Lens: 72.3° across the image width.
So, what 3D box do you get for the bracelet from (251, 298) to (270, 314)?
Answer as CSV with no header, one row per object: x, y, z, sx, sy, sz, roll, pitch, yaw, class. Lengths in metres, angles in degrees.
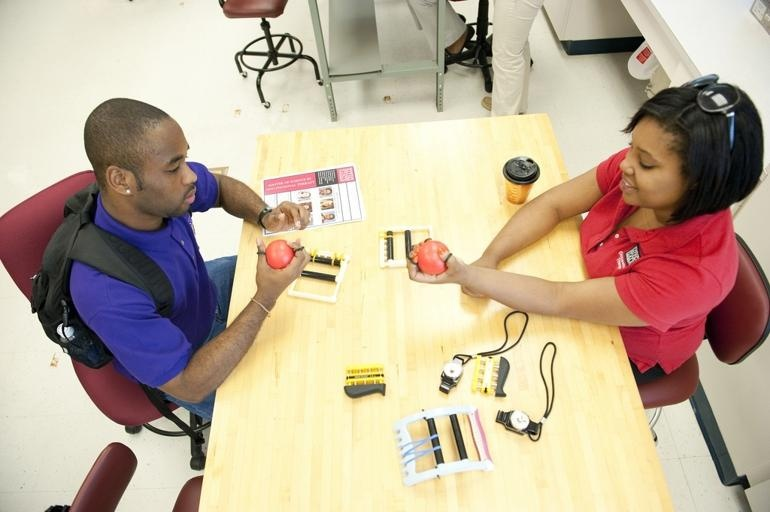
-0.553,0.222,2.354,0.072,0.063,0.020,41,84,-5,bracelet

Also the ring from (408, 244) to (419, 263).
0.123,-0.008,2.350,0.052,0.034,0.078,0,72,9,ring

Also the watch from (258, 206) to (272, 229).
-0.599,-0.195,2.614,0.036,0.081,0.096,4,84,-8,watch

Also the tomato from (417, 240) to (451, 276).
0.205,0.018,2.317,0.134,0.142,0.152,4,84,-17,tomato

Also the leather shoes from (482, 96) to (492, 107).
0.840,-1.267,4.335,0.063,0.045,0.119,2,54,6,leather shoes

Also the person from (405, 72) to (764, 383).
0.935,-0.085,2.452,1.173,1.795,0.866,-5,64,15,person

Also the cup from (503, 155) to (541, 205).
0.660,-0.361,2.577,0.176,0.201,0.178,-4,48,5,cup

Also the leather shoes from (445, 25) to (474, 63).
0.673,-1.897,4.615,0.151,0.190,0.497,7,71,26,leather shoes

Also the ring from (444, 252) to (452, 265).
0.269,0.010,2.247,0.034,0.017,0.050,-1,97,-30,ring

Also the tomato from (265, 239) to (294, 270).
-0.456,-0.008,2.340,0.113,0.124,0.125,-24,67,18,tomato
